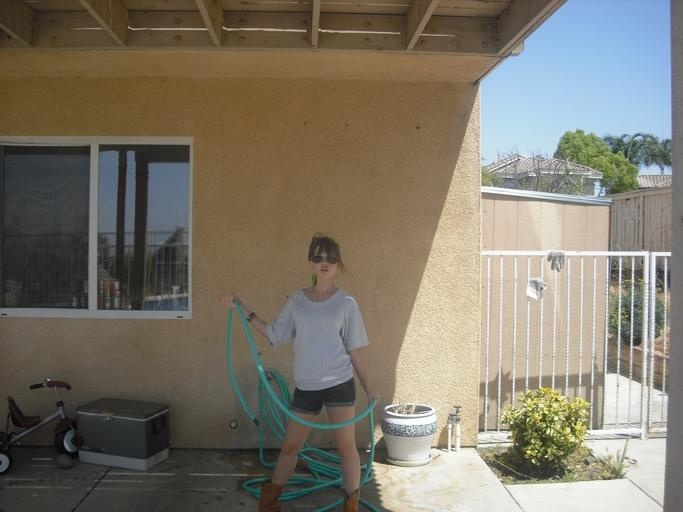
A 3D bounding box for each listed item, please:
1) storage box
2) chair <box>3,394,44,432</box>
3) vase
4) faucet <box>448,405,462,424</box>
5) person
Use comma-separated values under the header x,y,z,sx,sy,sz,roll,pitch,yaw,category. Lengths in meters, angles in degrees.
x,y,z,sx,sy,sz,roll,pitch,yaw,category
-2.065,1.656,6.952,0.777,0.545,0.471,4,5,13,storage box
-2.926,1.477,6.792,0.302,0.383,0.326,-3,7,-24,chair
0.607,1.703,7.011,0.534,0.507,0.551,2,1,27,vase
1.075,1.515,7.127,0.106,0.149,0.112,2,4,31,faucet
-0.228,0.973,5.981,0.886,2.286,0.405,-1,4,-4,person
